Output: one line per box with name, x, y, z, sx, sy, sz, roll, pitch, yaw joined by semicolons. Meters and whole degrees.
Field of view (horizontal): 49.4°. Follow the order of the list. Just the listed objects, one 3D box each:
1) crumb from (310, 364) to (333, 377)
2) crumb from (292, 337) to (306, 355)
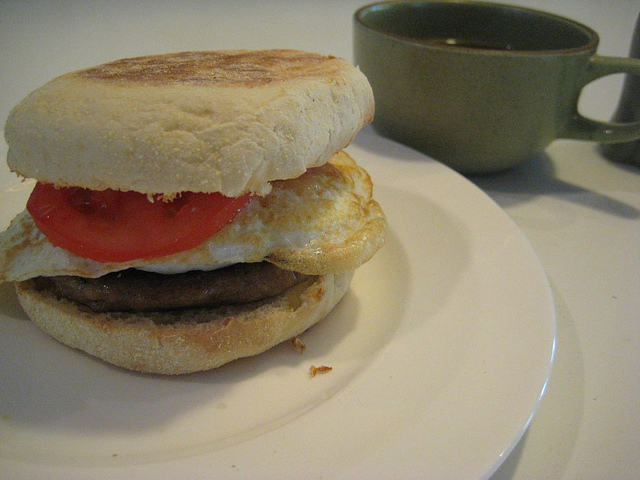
crumb;0.006;0.374;1.982;0.056;0.017;0.028;-4;16;2
crumb;-0.060;0.311;2.059;0.060;0.031;0.026;31;46;32
